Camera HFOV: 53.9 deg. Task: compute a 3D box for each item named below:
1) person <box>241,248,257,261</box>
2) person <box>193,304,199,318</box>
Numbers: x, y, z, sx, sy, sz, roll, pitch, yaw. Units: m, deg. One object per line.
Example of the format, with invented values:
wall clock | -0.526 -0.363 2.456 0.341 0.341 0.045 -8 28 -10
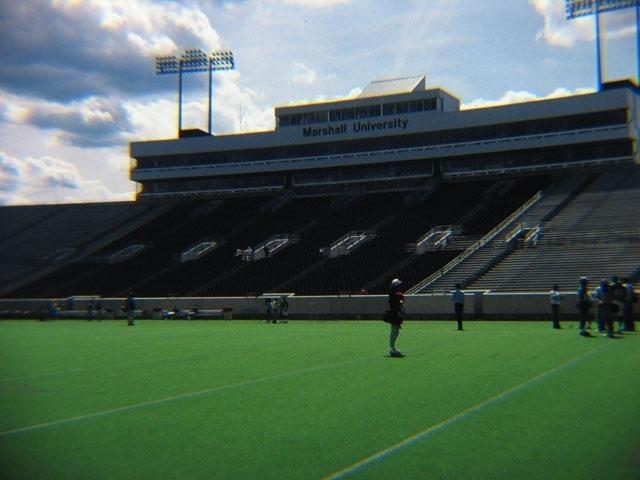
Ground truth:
person | -5.362 1.171 47.750 1.098 1.040 1.867 -2 -3 -7
person | -7.629 4.468 38.517 0.232 0.647 0.837 6 -4 -18
